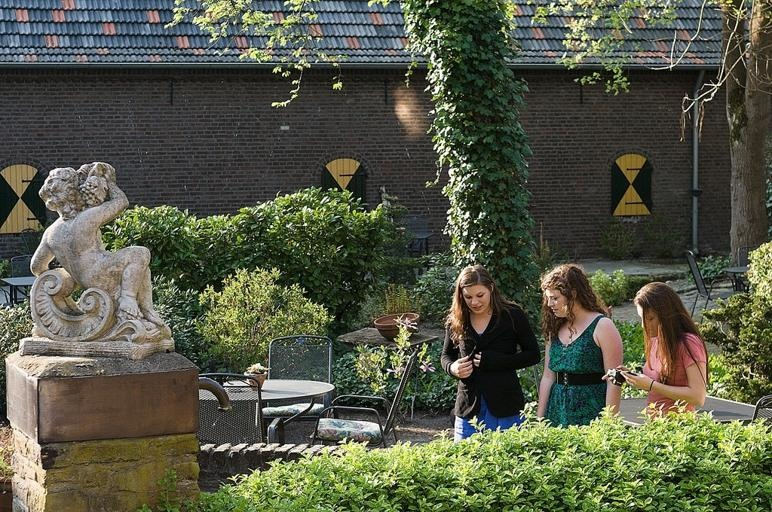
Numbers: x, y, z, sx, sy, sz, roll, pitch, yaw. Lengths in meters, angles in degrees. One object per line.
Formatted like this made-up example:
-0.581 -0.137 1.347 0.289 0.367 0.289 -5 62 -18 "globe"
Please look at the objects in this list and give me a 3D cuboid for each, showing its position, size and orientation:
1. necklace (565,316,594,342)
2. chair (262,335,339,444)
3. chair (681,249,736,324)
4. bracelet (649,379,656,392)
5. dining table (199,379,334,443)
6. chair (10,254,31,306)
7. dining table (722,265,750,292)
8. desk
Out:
2.785 1.060 22.660 0.257 0.473 0.112 40 -1 43 "necklace"
-1.455 2.119 25.056 1.622 2.176 1.483 0 -6 6 "chair"
6.311 0.674 29.698 1.055 1.650 0.904 -5 4 -5 "chair"
3.824 1.865 22.517 0.080 0.159 0.136 -2 0 0 "bracelet"
-2.187 2.448 23.970 1.263 0.669 1.364 0 2 1 "dining table"
-7.099 0.447 30.372 0.408 0.938 2.664 -2 -1 -13 "chair"
6.716 0.440 30.107 0.599 0.402 0.603 -5 7 -16 "dining table"
0.062 1.918 26.445 1.494 1.265 1.448 1 -8 -14 "desk"
